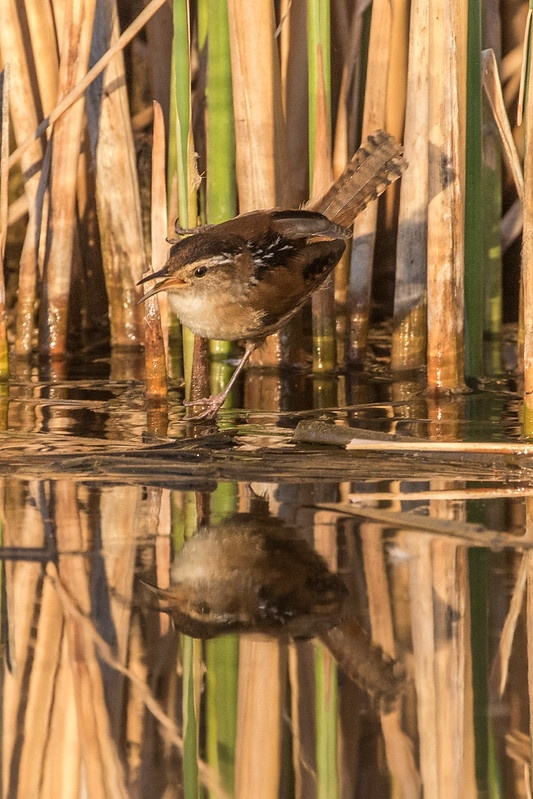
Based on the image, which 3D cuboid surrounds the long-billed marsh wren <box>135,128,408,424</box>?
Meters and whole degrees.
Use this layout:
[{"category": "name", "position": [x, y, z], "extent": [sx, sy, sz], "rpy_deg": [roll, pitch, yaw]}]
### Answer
[{"category": "long-billed marsh wren", "position": [0.047, -0.431, 3.700], "extent": [0.849, 0.755, 0.498], "rpy_deg": [-6, -52, -1]}]
